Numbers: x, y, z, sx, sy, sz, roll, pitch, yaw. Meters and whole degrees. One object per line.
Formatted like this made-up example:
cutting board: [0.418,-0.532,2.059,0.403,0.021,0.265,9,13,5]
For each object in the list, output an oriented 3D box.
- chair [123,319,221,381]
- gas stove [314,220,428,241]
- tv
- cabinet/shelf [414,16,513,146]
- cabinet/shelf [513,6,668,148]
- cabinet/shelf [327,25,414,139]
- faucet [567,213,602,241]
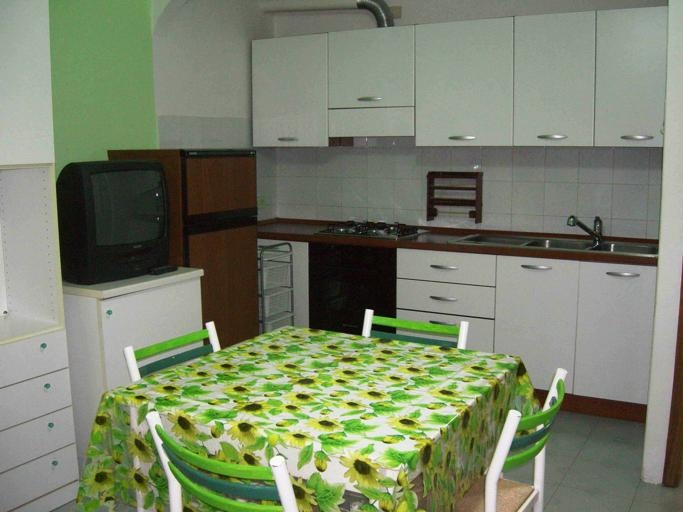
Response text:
chair: [-0.817,0.439,2.521,0.242,0.428,0.236,-24,7,-37]
gas stove: [0.230,-0.211,4.451,0.783,0.096,0.545,3,14,19]
tv: [-1.301,-0.178,3.008,0.428,0.719,0.673,4,8,33]
cabinet/shelf: [0.913,-1.282,4.025,0.740,0.886,0.231,2,15,14]
cabinet/shelf: [1.726,-1.218,3.664,1.224,1.013,0.463,2,7,20]
cabinet/shelf: [0.239,-1.287,4.508,0.729,0.781,0.455,-2,-8,6]
faucet: [1.807,-0.204,3.978,0.250,0.221,0.404,5,15,23]
